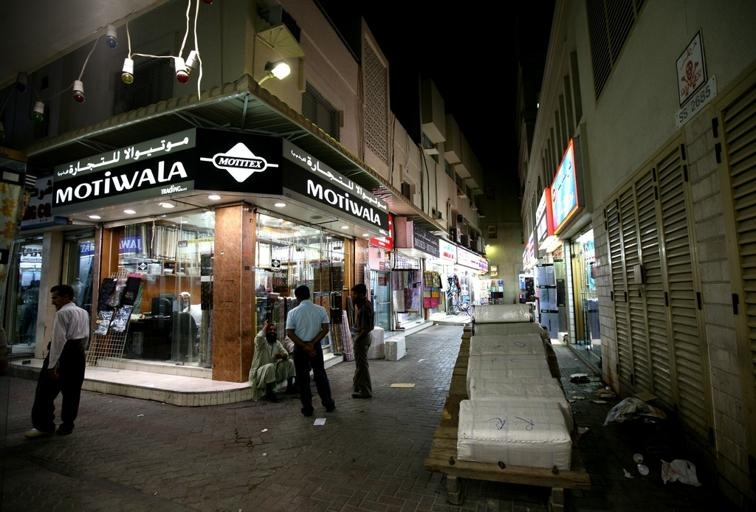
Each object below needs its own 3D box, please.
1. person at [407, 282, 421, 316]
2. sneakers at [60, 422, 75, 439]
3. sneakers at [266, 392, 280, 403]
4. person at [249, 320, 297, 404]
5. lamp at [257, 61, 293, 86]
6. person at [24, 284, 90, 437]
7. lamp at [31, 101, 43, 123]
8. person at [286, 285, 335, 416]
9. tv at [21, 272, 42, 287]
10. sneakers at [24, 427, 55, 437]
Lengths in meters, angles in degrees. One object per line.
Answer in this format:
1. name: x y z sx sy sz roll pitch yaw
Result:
1. person: 1.227 1.392 16.428 0.340 1.017 0.564 1 10 17
2. sneakers: -4.767 2.628 7.403 0.216 0.156 0.184 -9 12 -36
3. sneakers: -1.884 2.506 8.653 0.272 0.169 0.272 -4 10 -14
4. person: -1.955 1.842 8.808 0.858 1.282 0.868 -5 -6 8
5. lamp: -2.044 -3.536 9.425 0.580 0.415 1.216 -4 10 -13
6. person: -4.930 1.602 7.460 0.983 2.191 0.593 -10 13 -43
7. lamp: -5.965 -2.536 8.526 0.373 0.293 0.111 7 13 42
8. person: -1.201 1.598 8.331 0.778 2.142 0.706 -3 -7 -21
9. tv: -8.211 0.538 11.512 0.243 0.320 0.332 -2 -6 14
10. sneakers: -5.143 2.675 7.405 0.384 0.168 0.149 1 0 -17
